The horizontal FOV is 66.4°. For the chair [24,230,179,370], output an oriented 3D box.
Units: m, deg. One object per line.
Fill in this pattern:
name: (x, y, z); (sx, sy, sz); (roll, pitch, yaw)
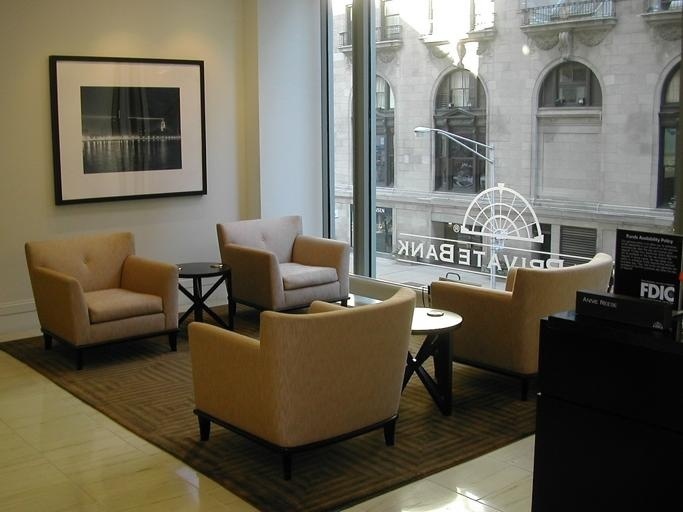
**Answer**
chair: (-2.514, 0.418, 5.484); (1.149, 1.201, 1.208); (8, 9, 42)

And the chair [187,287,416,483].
chair: (-0.285, 0.515, 3.607); (1.180, 1.126, 1.196); (8, 9, 44)

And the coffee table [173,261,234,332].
coffee table: (-1.665, 0.521, 6.099); (0.745, 0.817, 0.766); (1, 5, -18)

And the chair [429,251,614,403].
chair: (1.387, 0.666, 4.964); (1.148, 0.928, 1.248); (1, -12, 22)

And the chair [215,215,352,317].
chair: (-0.741, 0.109, 6.666); (1.245, 1.164, 1.366); (7, 10, 40)
